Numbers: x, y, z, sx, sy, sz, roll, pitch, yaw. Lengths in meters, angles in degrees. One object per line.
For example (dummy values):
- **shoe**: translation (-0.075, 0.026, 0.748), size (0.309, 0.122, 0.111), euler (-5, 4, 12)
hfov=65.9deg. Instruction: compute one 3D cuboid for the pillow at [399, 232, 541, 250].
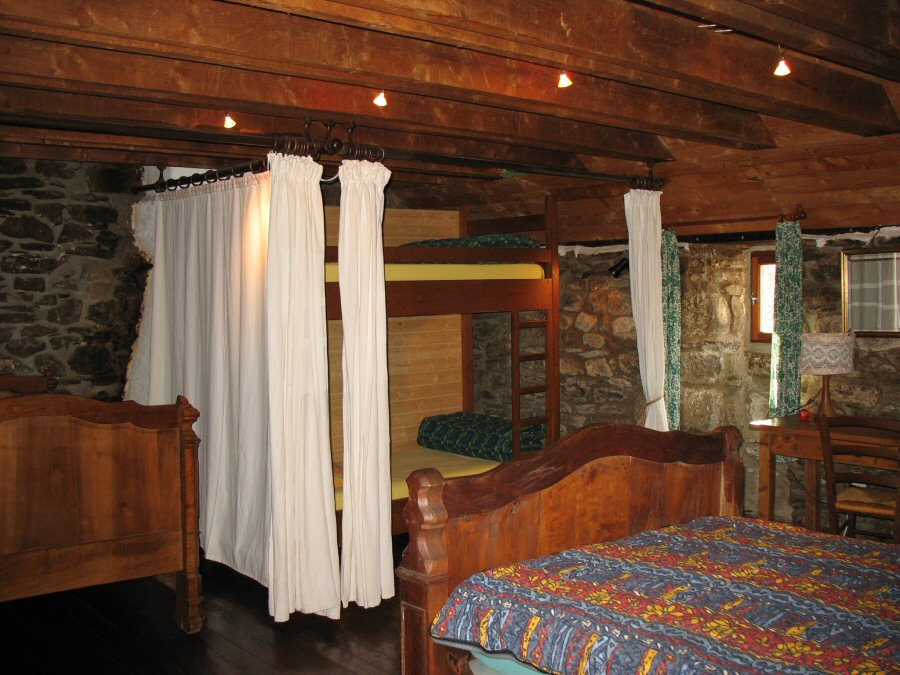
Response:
- **pillow**: translation (0.319, -0.882, 6.414), size (0.899, 0.108, 0.473), euler (0, 0, -9)
